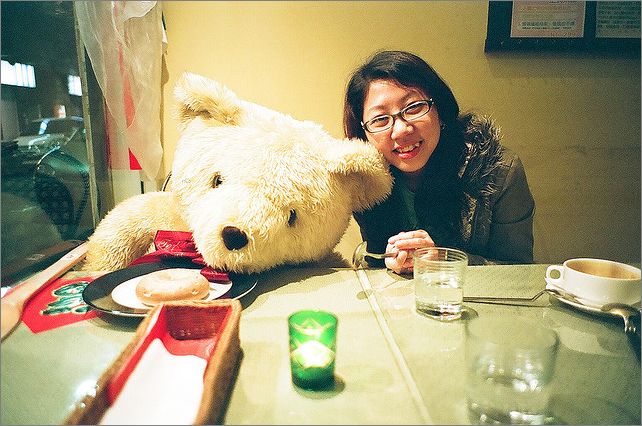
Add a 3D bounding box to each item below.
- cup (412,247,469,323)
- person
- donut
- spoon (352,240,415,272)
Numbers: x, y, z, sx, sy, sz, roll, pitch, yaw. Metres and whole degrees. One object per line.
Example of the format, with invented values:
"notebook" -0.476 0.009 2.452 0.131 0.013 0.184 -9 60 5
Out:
"cup" 0.319 0.199 1.304 0.196 0.183 0.173 0 6 -7
"person" 0.427 -0.138 1.855 0.847 0.922 0.684 0 7 27
"donut" -0.443 0.212 1.291 0.216 0.069 0.203 2 10 -30
"spoon" 0.193 0.123 1.433 0.166 0.090 0.091 2 52 11
